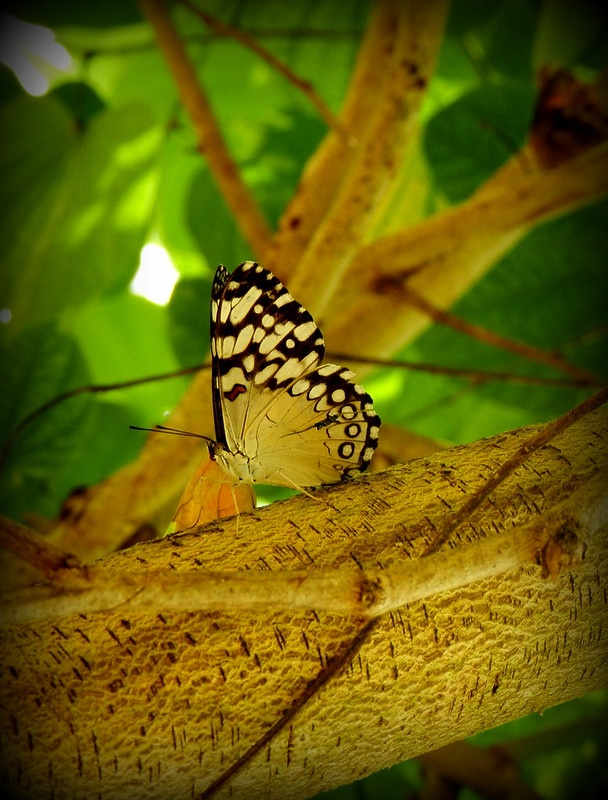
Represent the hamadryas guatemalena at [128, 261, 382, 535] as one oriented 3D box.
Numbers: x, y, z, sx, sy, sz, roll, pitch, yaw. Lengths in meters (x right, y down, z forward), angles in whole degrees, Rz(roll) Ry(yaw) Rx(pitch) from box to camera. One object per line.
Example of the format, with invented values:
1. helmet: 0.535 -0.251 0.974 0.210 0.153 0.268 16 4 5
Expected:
1. hamadryas guatemalena: -0.039 0.017 1.250 0.195 0.399 0.361 -20 -31 32
